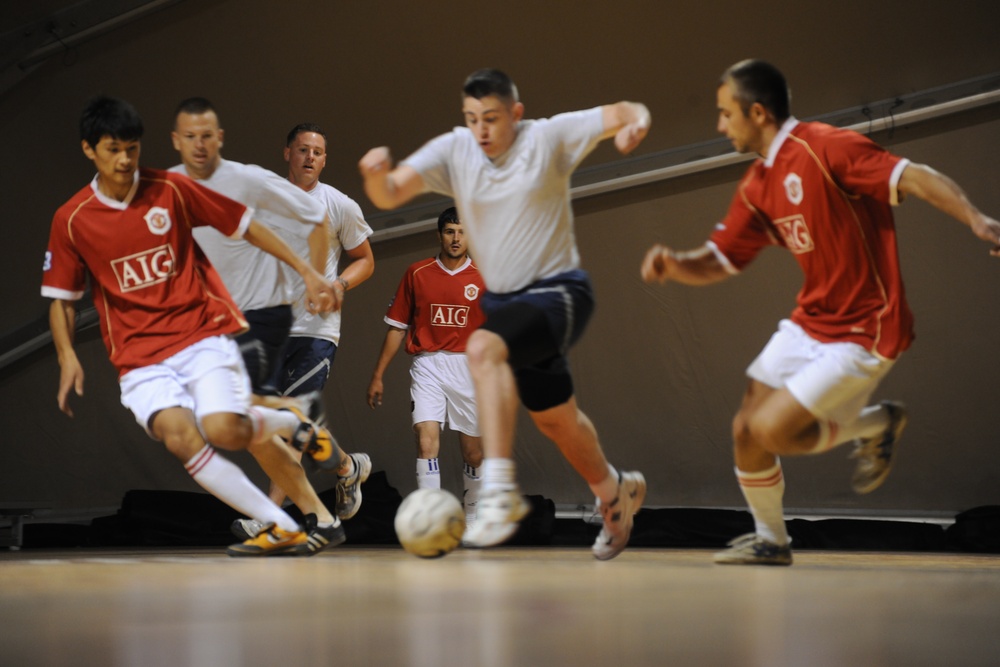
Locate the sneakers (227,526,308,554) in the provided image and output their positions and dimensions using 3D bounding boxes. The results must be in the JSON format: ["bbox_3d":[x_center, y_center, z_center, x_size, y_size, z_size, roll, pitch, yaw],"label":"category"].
[{"bbox_3d":[-1.225,1.129,4.690,0.439,0.203,0.169,2,-10,-3],"label":"sneakers"}]

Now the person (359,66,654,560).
[{"bbox_3d":[0.105,0.125,4.169,0.944,2.600,1.480,10,28,35],"label":"person"}]

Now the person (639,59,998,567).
[{"bbox_3d":[1.602,-0.123,4.524,1.140,2.429,0.950,-12,23,-12],"label":"person"}]

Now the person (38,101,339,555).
[{"bbox_3d":[-1.723,-0.031,4.693,1.331,2.373,0.902,2,24,21],"label":"person"}]

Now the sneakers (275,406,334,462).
[{"bbox_3d":[-1.091,0.631,5.082,0.147,0.453,0.196,15,62,39],"label":"sneakers"}]

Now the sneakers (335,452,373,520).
[{"bbox_3d":[-1.010,1.090,6.055,0.201,0.521,0.222,3,-11,33],"label":"sneakers"}]

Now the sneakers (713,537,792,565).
[{"bbox_3d":[1.330,1.119,4.508,0.368,0.161,0.170,4,-11,-1],"label":"sneakers"}]

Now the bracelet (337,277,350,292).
[{"bbox_3d":[-1.010,-0.314,5.569,0.060,0.084,0.091,-34,69,-32],"label":"bracelet"}]

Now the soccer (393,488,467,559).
[{"bbox_3d":[-0.280,0.775,3.503,0.252,0.267,0.277,-13,51,37],"label":"soccer"}]

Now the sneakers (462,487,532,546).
[{"bbox_3d":[0.008,0.737,3.534,0.141,0.160,0.344,-12,9,27],"label":"sneakers"}]
